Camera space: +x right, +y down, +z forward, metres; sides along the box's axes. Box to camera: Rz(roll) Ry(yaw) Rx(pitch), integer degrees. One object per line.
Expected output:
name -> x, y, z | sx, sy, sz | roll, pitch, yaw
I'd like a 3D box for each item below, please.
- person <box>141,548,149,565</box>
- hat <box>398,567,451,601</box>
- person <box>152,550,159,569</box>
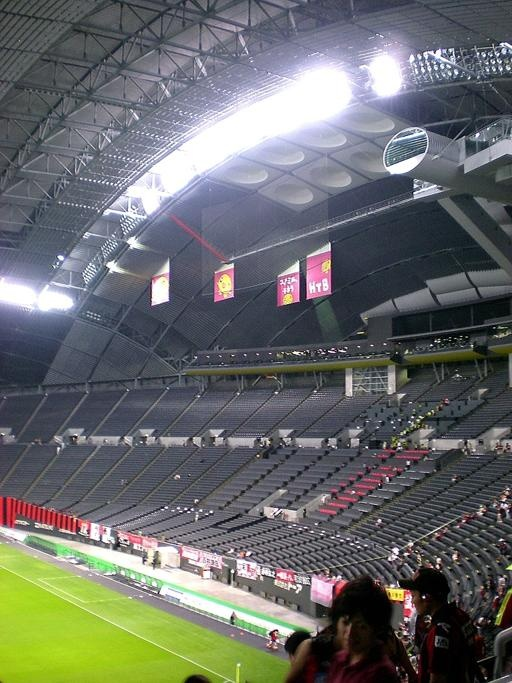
person -> -5.746, 11.083, 39.052 | 0.320, 0.775, 0.821 | -5, 0, -12
hat -> 1.616, 2.354, 7.322 | 0.449, 0.304, 0.286 | -4, 0, 8
person -> -5.048, 10.976, 38.147 | 0.393, 0.905, 0.410 | -5, 0, -10
